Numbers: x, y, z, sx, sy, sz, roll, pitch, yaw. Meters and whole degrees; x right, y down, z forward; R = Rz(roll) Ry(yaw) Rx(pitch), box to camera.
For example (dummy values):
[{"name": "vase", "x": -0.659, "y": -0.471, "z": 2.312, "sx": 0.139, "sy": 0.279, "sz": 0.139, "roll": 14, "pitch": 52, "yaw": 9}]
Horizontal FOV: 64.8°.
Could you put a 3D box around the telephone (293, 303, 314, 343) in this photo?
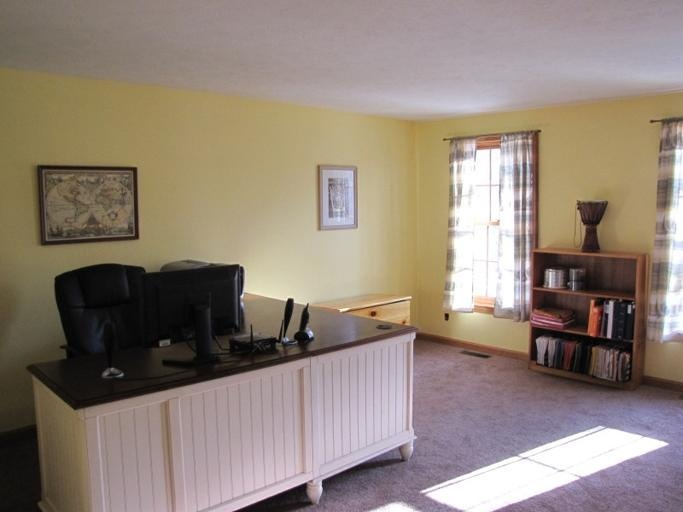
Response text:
[{"name": "telephone", "x": -0.263, "y": 0.472, "z": 3.746, "sx": 0.155, "sy": 0.254, "sz": 0.147, "roll": -1, "pitch": 12, "yaw": -29}]

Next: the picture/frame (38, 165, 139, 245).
[{"name": "picture/frame", "x": -2.162, "y": -0.429, "z": 4.533, "sx": 0.676, "sy": 0.573, "sz": 0.028, "roll": -5, "pitch": 6, "yaw": -41}]

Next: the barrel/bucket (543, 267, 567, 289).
[{"name": "barrel/bucket", "x": 2.270, "y": 0.241, "z": 5.783, "sx": 0.209, "sy": 0.181, "sz": 0.208, "roll": -2, "pitch": 5, "yaw": 0}]

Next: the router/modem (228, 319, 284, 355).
[{"name": "router/modem", "x": -0.561, "y": 0.552, "z": 3.602, "sx": 0.243, "sy": 0.161, "sz": 0.317, "roll": -4, "pitch": 4, "yaw": -39}]

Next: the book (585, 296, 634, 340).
[{"name": "book", "x": 2.655, "y": 0.632, "z": 5.332, "sx": 0.368, "sy": 0.508, "sz": 0.440, "roll": 3, "pitch": 6, "yaw": 31}]

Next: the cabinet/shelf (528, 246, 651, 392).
[{"name": "cabinet/shelf", "x": 2.560, "y": 0.675, "z": 5.496, "sx": 0.482, "sy": 1.650, "sz": 1.366, "roll": -2, "pitch": 3, "yaw": -40}]

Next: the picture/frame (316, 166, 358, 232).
[{"name": "picture/frame", "x": -0.072, "y": -0.652, "z": 6.120, "sx": 0.720, "sy": 0.908, "sz": 0.062, "roll": -5, "pitch": 7, "yaw": -44}]

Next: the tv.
[{"name": "tv", "x": -0.928, "y": 0.327, "z": 3.437, "sx": 0.661, "sy": 0.482, "sz": 0.118, "roll": -6, "pitch": 17, "yaw": -37}]
